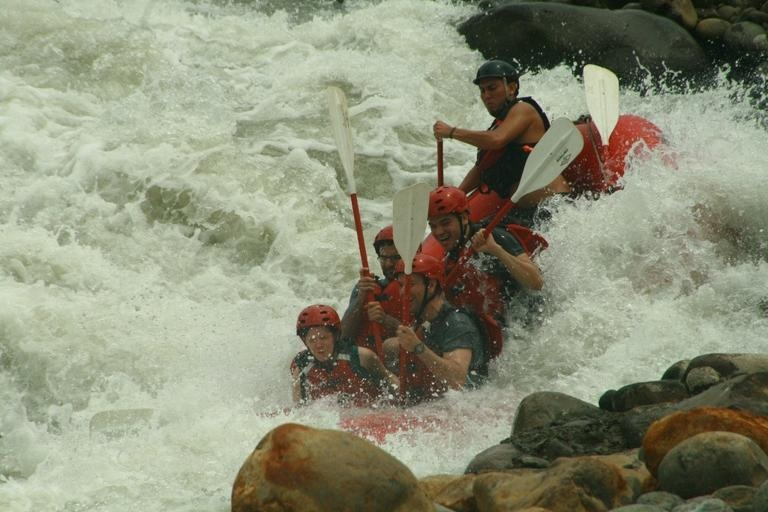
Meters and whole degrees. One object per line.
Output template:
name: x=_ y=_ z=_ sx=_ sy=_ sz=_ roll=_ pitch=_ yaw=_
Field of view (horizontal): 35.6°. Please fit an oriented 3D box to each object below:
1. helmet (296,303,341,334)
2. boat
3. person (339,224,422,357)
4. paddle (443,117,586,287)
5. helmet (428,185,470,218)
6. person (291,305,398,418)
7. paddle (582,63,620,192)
helmet: x=-0.717 y=0.658 z=12.676 sx=0.279 sy=0.403 sz=0.375 roll=-5 pitch=58 yaw=10
boat: x=1.360 y=0.179 z=13.566 sx=2.260 sy=0.910 sz=4.532 roll=34 pitch=85 yaw=24
person: x=-0.062 y=0.345 z=12.846 sx=0.657 sy=0.479 sz=1.313 roll=9 pitch=91 yaw=-26
paddle: x=1.464 y=-0.540 z=13.003 sx=0.412 sy=0.084 sz=2.256 roll=39 pitch=100 yaw=2
helmet: x=0.688 y=-0.537 z=12.890 sx=0.441 sy=0.448 sz=0.513 roll=-2 pitch=78 yaw=-2
person: x=-0.526 y=1.113 z=12.714 sx=1.083 sy=0.727 sz=1.341 roll=-13 pitch=98 yaw=-14
paddle: x=2.566 y=-1.472 z=13.967 sx=0.495 sy=1.927 sz=0.190 roll=27 pitch=67 yaw=30
